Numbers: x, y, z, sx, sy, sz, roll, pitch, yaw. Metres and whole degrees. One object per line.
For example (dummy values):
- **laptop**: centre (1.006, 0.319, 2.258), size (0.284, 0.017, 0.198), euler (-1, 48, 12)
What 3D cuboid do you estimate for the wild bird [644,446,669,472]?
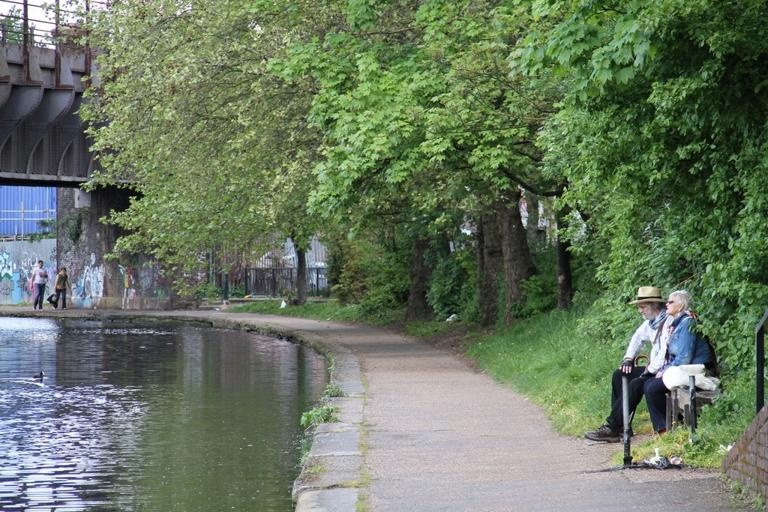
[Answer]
- **wild bird**: centre (3.448, 2.581, 14.118), size (0.252, 0.214, 0.237), euler (1, -9, -13)

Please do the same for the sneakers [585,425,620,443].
- **sneakers**: centre (3.082, 2.517, 15.743), size (0.542, 0.259, 0.195), euler (4, 1, 10)

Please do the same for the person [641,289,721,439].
- **person**: centre (4.060, 1.460, 15.274), size (0.993, 1.959, 0.532), euler (-3, -3, 17)
